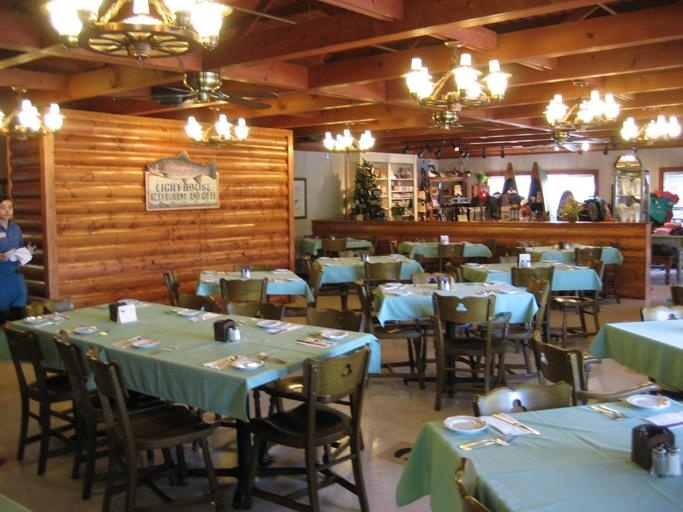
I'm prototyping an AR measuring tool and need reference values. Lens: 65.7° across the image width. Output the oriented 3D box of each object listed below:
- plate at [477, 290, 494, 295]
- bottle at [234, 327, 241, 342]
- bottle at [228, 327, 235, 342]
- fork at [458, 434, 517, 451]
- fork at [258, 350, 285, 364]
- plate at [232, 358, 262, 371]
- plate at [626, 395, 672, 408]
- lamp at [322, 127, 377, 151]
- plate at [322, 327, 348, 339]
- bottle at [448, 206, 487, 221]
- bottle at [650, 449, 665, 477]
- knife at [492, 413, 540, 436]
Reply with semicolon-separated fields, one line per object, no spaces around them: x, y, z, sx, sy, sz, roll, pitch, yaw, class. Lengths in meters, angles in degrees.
1.462;0.368;5.342;0.088;0.057;0.064;-3;10;-30;plate
-0.738;0.552;3.782;0.045;0.091;0.094;-1;5;-1;bottle
-0.772;0.555;3.748;0.046;0.099;0.042;-4;6;-29;bottle
0.651;0.846;2.408;0.309;0.028;0.061;0;11;-19;fork
-0.434;0.640;3.348;0.054;0.029;0.265;-23;17;-40;fork
-0.569;0.659;3.246;0.188;0.032;0.194;-1;3;-2;plate
1.629;0.770;2.813;0.210;0.032;0.213;1;4;27;plate
0.210;-2.166;9.539;1.169;0.297;0.910;1;2;8;lamp
-0.047;0.564;3.841;0.190;0.036;0.282;-1;3;-2;plate
2.616;-0.900;11.148;0.829;0.306;0.312;0;5;9;bottle
1.277;0.829;2.131;0.049;0.115;0.020;1;6;22;bottle
0.855;0.818;2.567;0.056;0.019;0.183;-2;4;-31;knife
